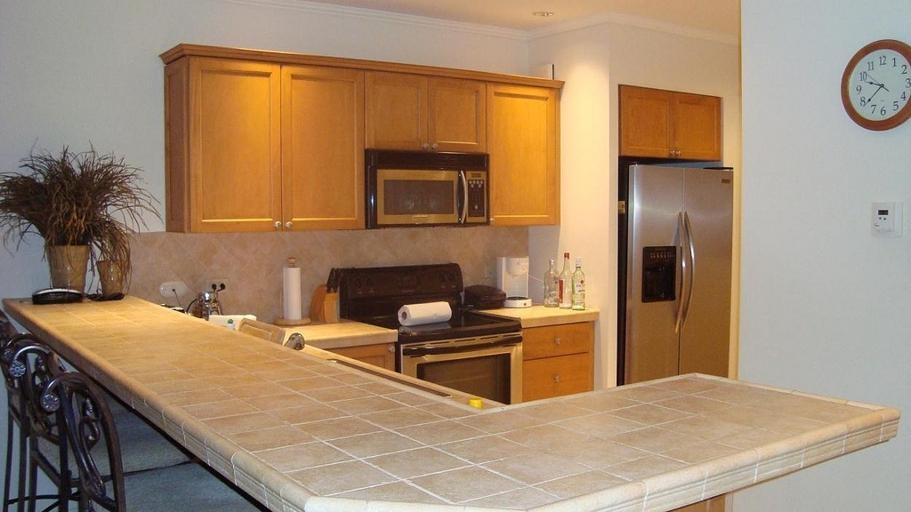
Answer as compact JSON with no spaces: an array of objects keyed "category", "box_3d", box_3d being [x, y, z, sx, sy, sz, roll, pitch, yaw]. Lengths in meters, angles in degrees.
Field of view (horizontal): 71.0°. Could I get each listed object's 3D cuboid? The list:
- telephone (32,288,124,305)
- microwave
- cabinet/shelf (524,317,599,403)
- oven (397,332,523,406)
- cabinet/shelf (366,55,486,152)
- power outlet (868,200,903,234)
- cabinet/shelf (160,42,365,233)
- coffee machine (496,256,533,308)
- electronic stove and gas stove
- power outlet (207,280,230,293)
[{"category":"telephone","box_3d":[-2.361,0.248,3.952,0.366,0.060,0.194,-1,-2,-19]},{"category":"microwave","box_3d":[-0.224,-0.521,5.025,1.088,0.578,0.634,-1,2,-31]},{"category":"cabinet/shelf","box_3d":[0.787,0.790,4.943,0.765,0.634,0.381,0,-1,-34]},{"category":"oven","box_3d":[-0.025,0.804,4.914,0.926,0.770,0.588,-2,3,-37]},{"category":"cabinet/shelf","box_3d":[-0.315,-1.144,5.134,1.237,0.639,0.447,-8,15,-42]},{"category":"power outlet","box_3d":[2.290,-0.208,3.387,0.107,0.170,0.193,-4,5,-42]},{"category":"cabinet/shelf","box_3d":[-1.424,-0.836,4.528,1.632,1.219,0.557,-1,1,-28]},{"category":"coffee machine","box_3d":[0.533,0.218,5.610,0.385,0.403,0.363,7,7,43]},{"category":"electronic stove and gas stove","box_3d":[-0.168,0.396,5.075,1.342,0.533,0.997,-2,8,-43]},{"category":"power outlet","box_3d":[-1.752,0.224,4.715,0.067,0.106,0.132,3,5,38]}]
